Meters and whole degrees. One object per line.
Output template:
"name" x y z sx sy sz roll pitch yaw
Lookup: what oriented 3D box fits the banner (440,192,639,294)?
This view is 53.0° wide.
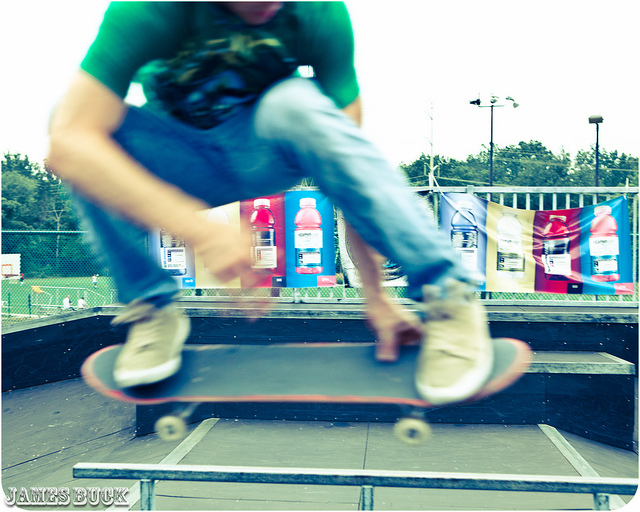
"banner" 2.338 -0.107 6.779 1.919 0.679 0.027 0 -5 4
